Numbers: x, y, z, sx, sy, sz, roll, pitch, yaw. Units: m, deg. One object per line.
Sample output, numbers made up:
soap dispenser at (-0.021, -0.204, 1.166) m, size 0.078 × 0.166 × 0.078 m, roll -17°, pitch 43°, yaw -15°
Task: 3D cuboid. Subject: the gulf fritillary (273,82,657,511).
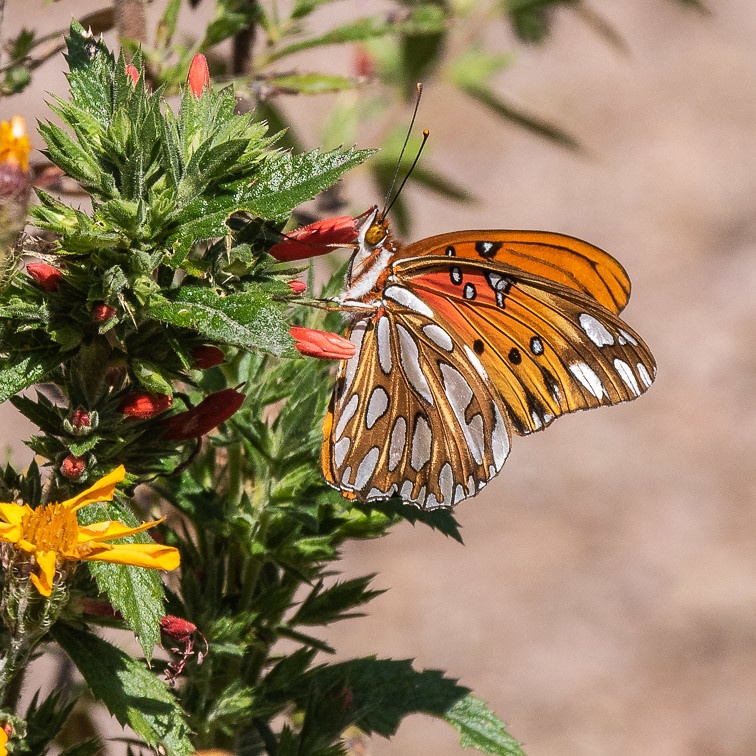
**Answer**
gulf fritillary at (0.119, 0.001, 1.615) m, size 0.353 × 0.427 × 0.434 m, roll -29°, pitch -53°, yaw 33°
